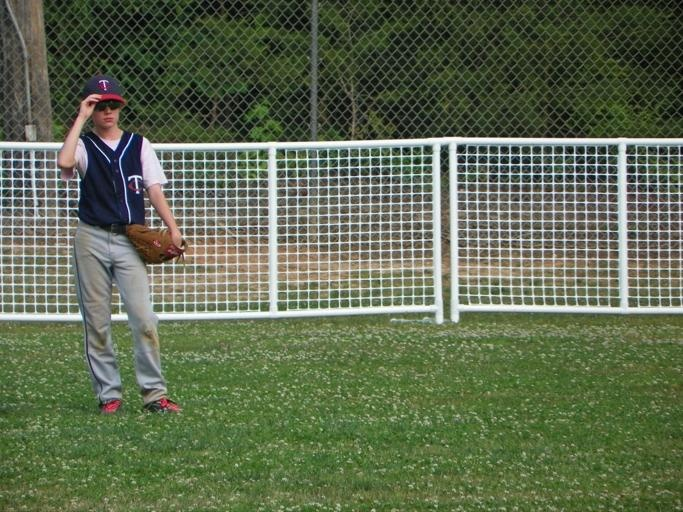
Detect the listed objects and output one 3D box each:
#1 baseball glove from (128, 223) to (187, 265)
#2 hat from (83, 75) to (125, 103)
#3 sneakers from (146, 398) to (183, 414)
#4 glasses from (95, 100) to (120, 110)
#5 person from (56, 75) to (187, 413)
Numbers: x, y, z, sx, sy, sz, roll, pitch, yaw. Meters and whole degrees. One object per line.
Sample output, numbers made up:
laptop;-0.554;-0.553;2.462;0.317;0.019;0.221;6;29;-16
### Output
baseball glove;-1.512;-0.132;8.975;0.440;0.184;0.560;-6;21;-23
hat;-1.902;-1.279;8.850;0.213;0.163;0.302;-2;2;-29
sneakers;-1.396;1.156;8.797;0.252;0.107;0.114;-2;-8;38
glasses;-1.825;-1.164;8.751;0.143;0.078;0.191;-4;16;-18
person;-1.735;-0.081;8.785;0.801;2.596;0.245;-4;3;-7
